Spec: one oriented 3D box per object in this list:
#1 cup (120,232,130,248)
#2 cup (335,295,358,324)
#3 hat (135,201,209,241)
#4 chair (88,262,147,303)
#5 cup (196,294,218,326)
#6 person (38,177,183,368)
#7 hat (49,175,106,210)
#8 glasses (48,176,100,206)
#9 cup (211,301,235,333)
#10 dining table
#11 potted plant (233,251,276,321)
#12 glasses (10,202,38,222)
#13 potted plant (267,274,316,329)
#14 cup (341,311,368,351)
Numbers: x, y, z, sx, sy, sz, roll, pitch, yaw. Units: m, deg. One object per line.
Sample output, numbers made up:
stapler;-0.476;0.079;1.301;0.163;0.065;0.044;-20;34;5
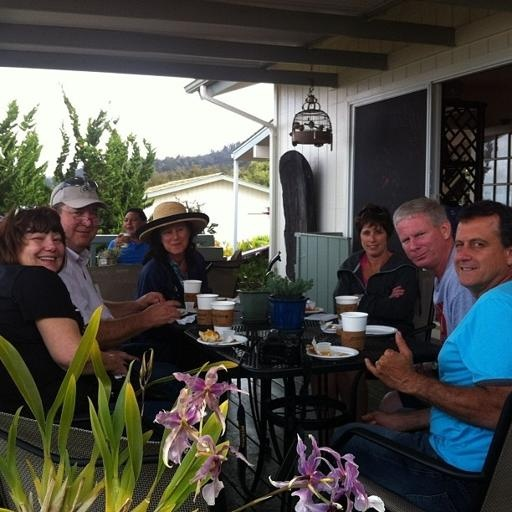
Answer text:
cup;-1.667;-0.194;6.294;0.099;0.110;0.164;-22;-13;-17
cup;0.480;0.289;2.654;0.131;0.105;0.140;0;-3;0
hat;-0.645;-0.306;3.677;0.461;0.181;0.511;-7;2;41
chair;-1.336;0.243;4.651;0.407;0.309;0.431;-4;-3;38
cup;-0.298;0.304;2.738;0.129;0.144;0.142;4;-2;21
person;-0.923;0.032;2.920;0.975;0.941;0.720;-3;-3;4
hat;-1.089;-0.379;3.034;0.218;0.145;0.287;2;-2;-42
glasses;-1.097;-0.381;3.040;0.207;0.137;0.272;3;-4;-41
cup;-0.169;0.323;2.549;0.124;0.134;0.125;0;-6;0
dining table;0.229;0.710;2.286;1.025;0.456;0.989;1;-16;-5
potted plant;-0.022;0.182;2.776;0.198;0.348;0.183;0;-4;-11
glasses;-0.852;-0.160;1.793;0.056;0.053;0.017;2;35;-50
potted plant;0.168;0.235;2.593;0.324;0.261;0.244;1;-3;2
cup;0.432;0.333;2.184;0.158;0.171;0.150;1;0;0
